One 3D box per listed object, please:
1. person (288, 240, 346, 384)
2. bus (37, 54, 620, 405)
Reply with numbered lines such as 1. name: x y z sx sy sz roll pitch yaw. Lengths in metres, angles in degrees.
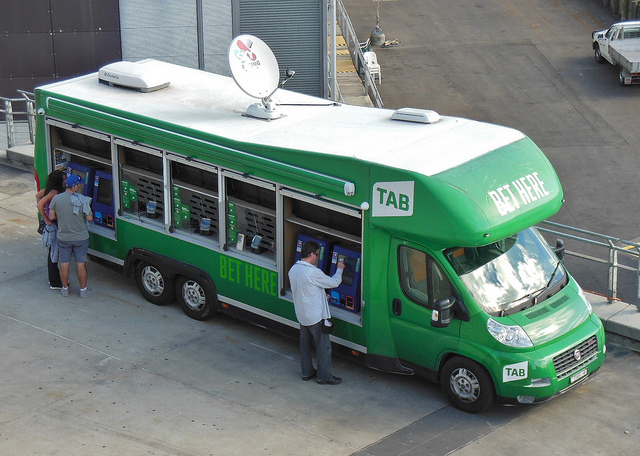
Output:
1. person: -0.049 1.283 11.790 0.766 2.125 0.515 -2 21 -1
2. bus: -0.363 -0.325 13.733 10.013 3.737 2.967 15 27 31
